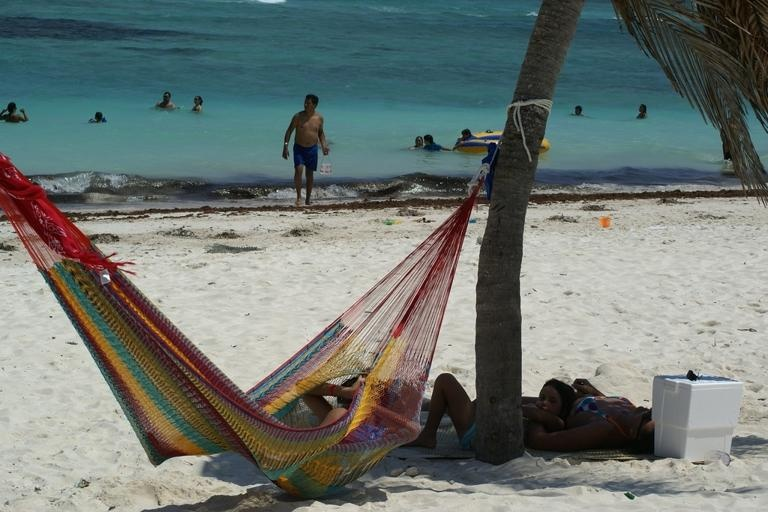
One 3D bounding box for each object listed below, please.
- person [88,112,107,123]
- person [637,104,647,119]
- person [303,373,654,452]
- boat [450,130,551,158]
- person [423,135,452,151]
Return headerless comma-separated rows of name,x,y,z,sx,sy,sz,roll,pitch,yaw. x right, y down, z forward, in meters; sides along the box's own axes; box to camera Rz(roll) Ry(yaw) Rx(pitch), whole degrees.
person,-8.663,-4.196,24.185,0.504,0.379,0.869,-4,9,-17
person,9.375,-5.265,29.036,0.378,0.569,0.788,2,10,14
person,0.674,1.154,6.162,2.509,0.622,1.082,-2,9,-11
boat,2.929,-3.450,24.261,1.032,0.667,1.897,-5,9,-24
person,1.660,-3.496,25.165,0.971,0.235,0.639,10,-7,-38
